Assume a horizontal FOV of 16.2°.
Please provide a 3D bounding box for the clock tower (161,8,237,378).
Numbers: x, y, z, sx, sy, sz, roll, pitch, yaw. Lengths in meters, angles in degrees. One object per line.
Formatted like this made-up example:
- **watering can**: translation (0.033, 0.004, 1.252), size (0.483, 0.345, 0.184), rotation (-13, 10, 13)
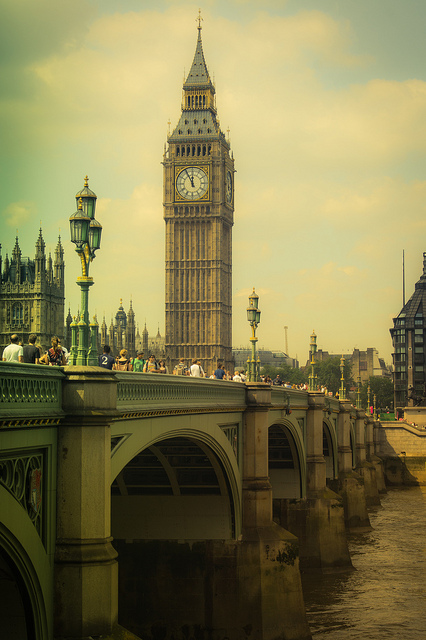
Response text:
- **clock tower**: translation (-1.667, -13.657, 161.743), size (6.102, 39.382, 12.584), rotation (-2, -4, 27)

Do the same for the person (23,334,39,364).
- **person**: translation (-2.884, 0.455, 23.659), size (0.226, 0.522, 1.155), rotation (0, -5, -7)
